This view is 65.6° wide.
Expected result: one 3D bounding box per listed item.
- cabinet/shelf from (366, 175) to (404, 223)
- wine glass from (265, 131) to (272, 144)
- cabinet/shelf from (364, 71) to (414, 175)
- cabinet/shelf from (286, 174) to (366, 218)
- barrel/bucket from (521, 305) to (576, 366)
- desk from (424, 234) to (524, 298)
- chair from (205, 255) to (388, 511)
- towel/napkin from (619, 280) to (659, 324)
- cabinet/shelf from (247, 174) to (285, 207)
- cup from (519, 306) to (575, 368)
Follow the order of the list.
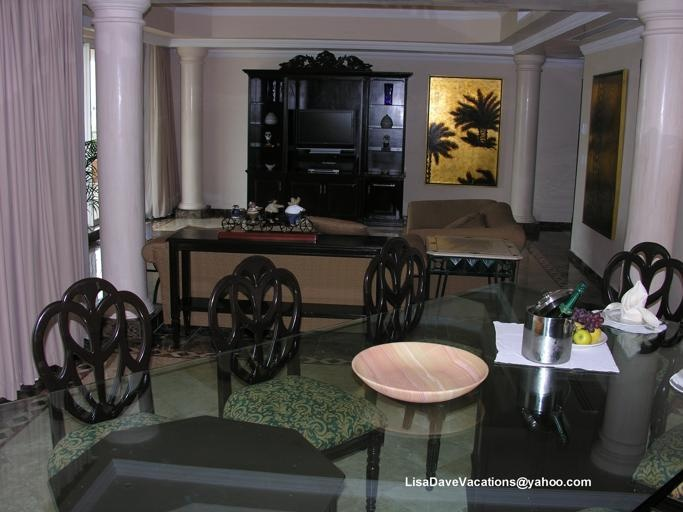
[{"bbox_3d":[0.781,-1.134,10.280,0.967,1.024,0.748,2,20,3],"label":"cabinet/shelf"},{"bbox_3d":[-1.376,-2.254,10.071,0.156,0.280,0.160,10,17,25],"label":"wine glass"},{"bbox_3d":[0.837,-2.413,9.875,0.699,1.729,0.324,0,13,3],"label":"cabinet/shelf"},{"bbox_3d":[-0.310,-1.128,10.137,1.401,0.887,0.455,2,17,3],"label":"cabinet/shelf"},{"bbox_3d":[0.889,0.343,2.433,0.220,0.260,0.235,1,12,0],"label":"barrel/bucket"},{"bbox_3d":[1.234,-0.024,5.115,0.746,0.748,0.740,2,17,1],"label":"desk"},{"bbox_3d":[-0.198,0.550,2.494,0.581,1.108,0.591,-11,18,-39],"label":"chair"},{"bbox_3d":[1.774,0.279,3.185,0.137,0.199,0.314,-3,9,-4],"label":"towel/napkin"},{"bbox_3d":[-1.394,-1.152,10.206,0.731,0.734,0.398,0,-7,-8],"label":"cabinet/shelf"},{"bbox_3d":[0.891,0.354,2.443,0.220,0.261,0.235,2,11,0],"label":"cup"}]
